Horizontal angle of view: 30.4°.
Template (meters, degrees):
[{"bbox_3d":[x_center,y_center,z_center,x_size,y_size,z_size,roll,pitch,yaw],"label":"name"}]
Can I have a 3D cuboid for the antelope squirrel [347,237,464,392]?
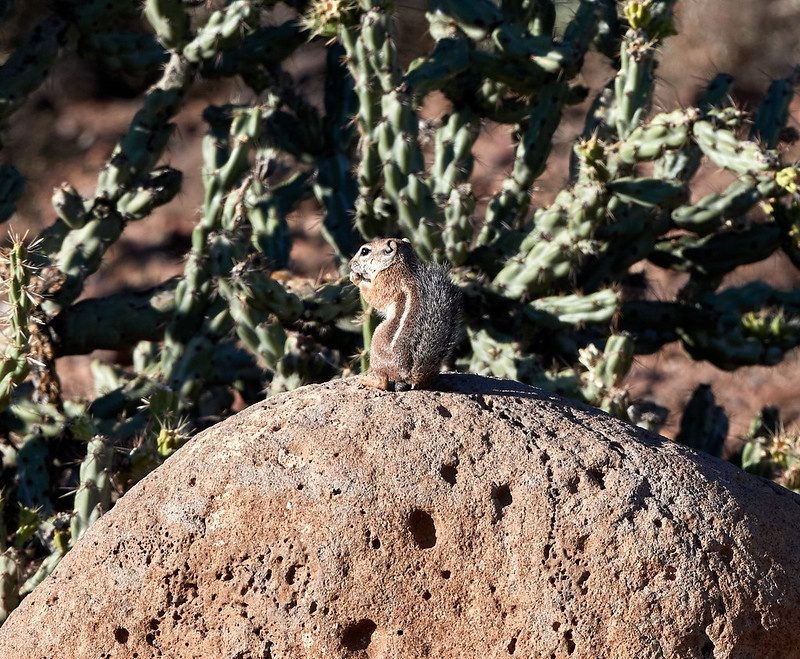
[{"bbox_3d":[0.051,-0.077,7.990,0.584,0.679,0.684,-12,57,2],"label":"antelope squirrel"}]
